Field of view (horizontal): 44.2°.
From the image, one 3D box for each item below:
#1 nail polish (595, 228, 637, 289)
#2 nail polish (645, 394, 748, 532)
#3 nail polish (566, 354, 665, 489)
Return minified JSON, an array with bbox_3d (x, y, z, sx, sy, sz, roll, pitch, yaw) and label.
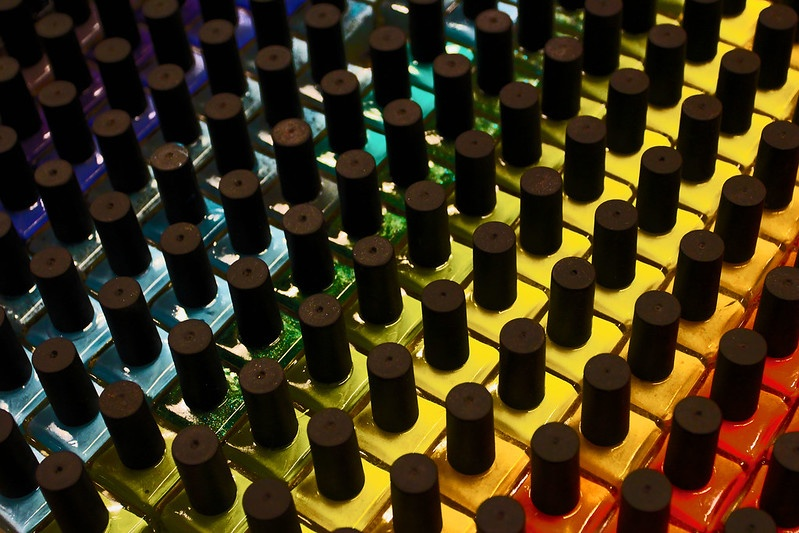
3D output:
[{"bbox_3d":[0.558,-0.015,2.519,0.116,0.135,0.130,1,76,3],"label":"nail polish"},{"bbox_3d":[0.695,0.468,2.283,0.144,0.146,0.264,-11,37,26],"label":"nail polish"},{"bbox_3d":[0.514,0.380,2.335,0.139,0.263,0.141,38,78,17],"label":"nail polish"}]
